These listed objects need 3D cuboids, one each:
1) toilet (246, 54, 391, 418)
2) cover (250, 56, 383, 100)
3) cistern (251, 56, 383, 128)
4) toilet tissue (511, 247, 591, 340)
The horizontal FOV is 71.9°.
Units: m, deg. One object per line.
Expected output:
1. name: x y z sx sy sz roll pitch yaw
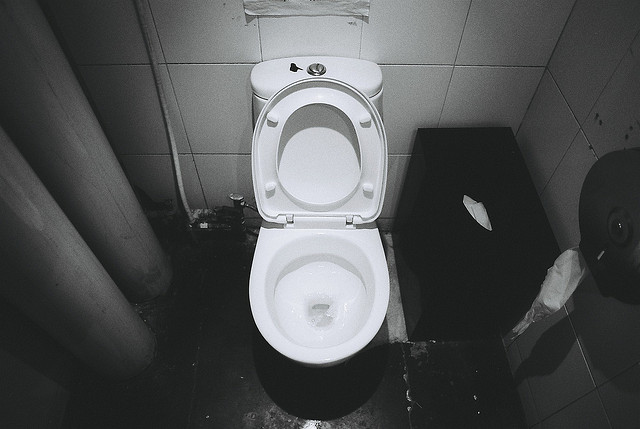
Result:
1. toilet: 0.006 0.097 1.846 0.687 1.238 0.899 0 38 -1
2. cover: -0.012 -0.538 1.749 0.513 0.120 0.155 1 39 -1
3. cistern: -0.012 -0.566 1.912 0.579 0.254 0.644 2 43 -3
4. toilet tissue: 0.790 0.290 1.528 0.086 0.362 0.107 22 21 -37
